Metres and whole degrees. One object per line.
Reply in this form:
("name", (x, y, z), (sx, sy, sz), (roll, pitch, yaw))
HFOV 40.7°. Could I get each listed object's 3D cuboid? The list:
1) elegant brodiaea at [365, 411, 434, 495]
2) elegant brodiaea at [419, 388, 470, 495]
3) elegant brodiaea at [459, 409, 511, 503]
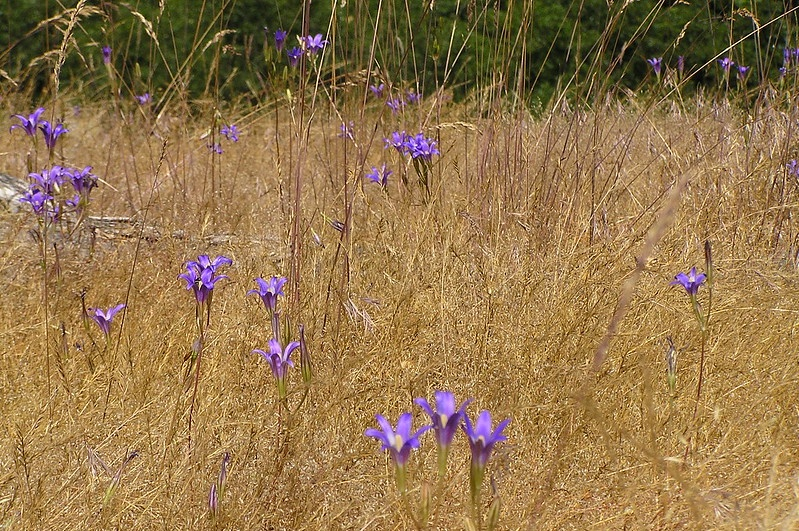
("elegant brodiaea", (0.002, 0.899, 4.993), (0.258, 0.270, 0.329), (-10, 100, -14))
("elegant brodiaea", (0.195, 0.797, 5.021), (0.254, 0.339, 0.554), (-1, 99, -14))
("elegant brodiaea", (0.374, 0.869, 5.094), (0.211, 0.416, 0.369), (29, 67, 18))
